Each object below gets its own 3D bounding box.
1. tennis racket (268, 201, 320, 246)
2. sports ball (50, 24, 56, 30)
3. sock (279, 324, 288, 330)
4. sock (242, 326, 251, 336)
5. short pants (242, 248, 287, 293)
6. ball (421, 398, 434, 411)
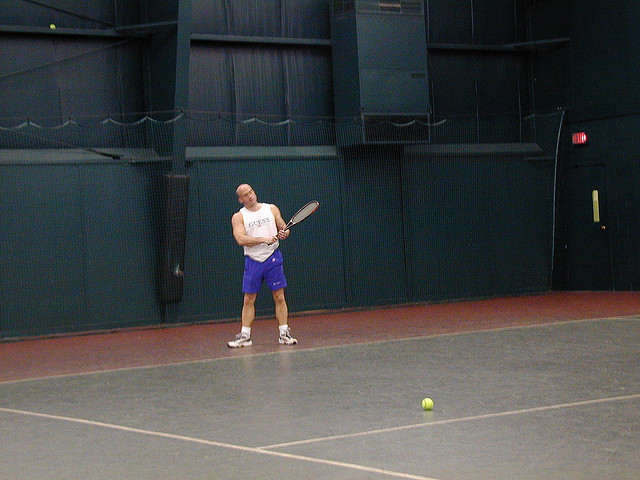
[{"bbox_3d":[-0.265,-0.382,8.735,0.941,0.274,0.095,-40,-6,-25],"label":"tennis racket"},{"bbox_3d":[-5.298,-4.260,11.537,0.102,0.119,0.135,-2,0,-25],"label":"sports ball"},{"bbox_3d":[-0.516,1.255,8.443,0.124,0.061,0.129,-2,0,-31],"label":"sock"},{"bbox_3d":[-1.071,1.327,8.491,0.124,0.148,0.129,1,-2,-6],"label":"sock"},{"bbox_3d":[-0.816,0.377,8.489,0.611,0.743,0.368,-7,24,-14],"label":"short pants"},{"bbox_3d":[0.903,1.384,4.887,0.082,0.095,0.084,0,10,0],"label":"ball"}]
